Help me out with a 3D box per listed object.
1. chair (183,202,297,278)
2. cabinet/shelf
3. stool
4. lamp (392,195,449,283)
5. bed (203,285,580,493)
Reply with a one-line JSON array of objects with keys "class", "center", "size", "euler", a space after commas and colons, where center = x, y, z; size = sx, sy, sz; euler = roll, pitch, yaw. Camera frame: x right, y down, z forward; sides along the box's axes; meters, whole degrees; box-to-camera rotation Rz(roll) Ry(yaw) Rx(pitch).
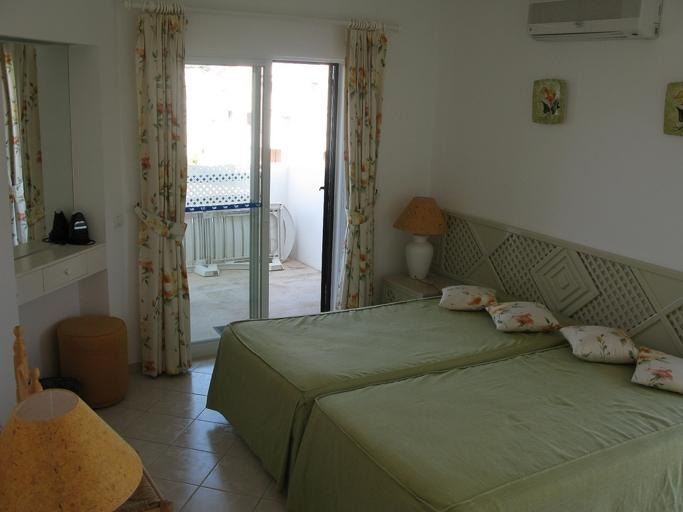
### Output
[{"class": "chair", "center": [-0.900, -0.155, 4.186], "size": [0.947, 0.643, 0.335], "euler": [-4, -5, -14]}, {"class": "cabinet/shelf", "center": [-1.958, 0.075, 3.211], "size": [0.335, 0.136, 0.566], "euler": [12, 17, 28]}, {"class": "stool", "center": [-1.764, 0.753, 3.652], "size": [0.480, 0.611, 0.496], "euler": [-16, 15, -37]}, {"class": "lamp", "center": [0.730, -0.175, 4.506], "size": [0.470, 0.764, 0.434], "euler": [3, 15, 12]}, {"class": "bed", "center": [0.255, 0.867, 3.589], "size": [2.144, 0.606, 1.270], "euler": [0, 10, -37]}]
